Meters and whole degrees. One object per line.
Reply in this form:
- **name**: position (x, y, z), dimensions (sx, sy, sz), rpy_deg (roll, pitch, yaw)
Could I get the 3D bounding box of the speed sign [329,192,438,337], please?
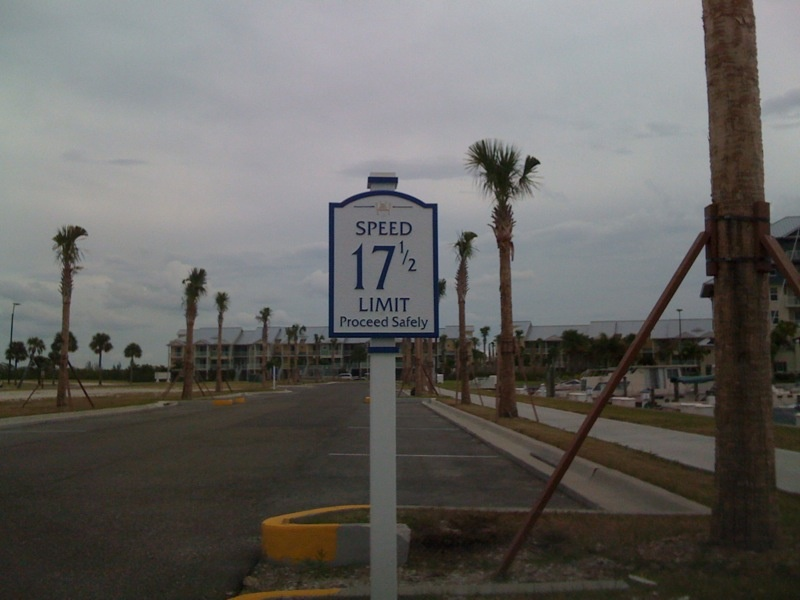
- **speed sign**: position (-0.216, -0.311, 7.769), dimensions (1.388, 2.224, 0.161), rpy_deg (0, -5, -2)
